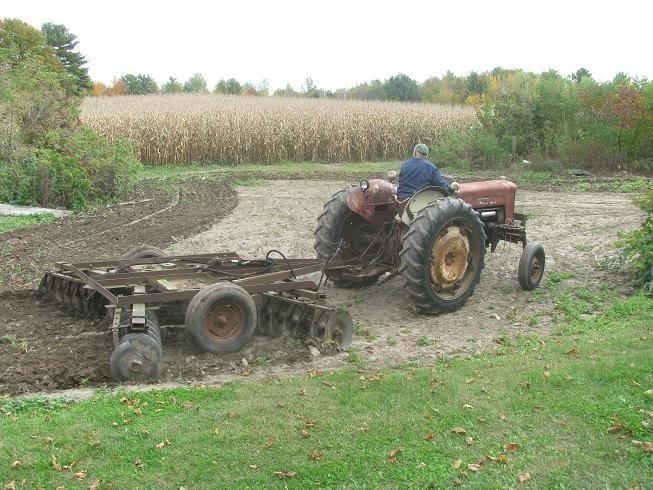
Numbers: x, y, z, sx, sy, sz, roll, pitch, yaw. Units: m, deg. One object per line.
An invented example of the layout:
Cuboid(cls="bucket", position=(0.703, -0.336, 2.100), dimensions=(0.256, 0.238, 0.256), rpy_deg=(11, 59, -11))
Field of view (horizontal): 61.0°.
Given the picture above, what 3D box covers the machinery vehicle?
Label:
Cuboid(cls="machinery vehicle", position=(1.756, -0.185, 8.521), dimensions=(3.293, 1.624, 1.965), rpy_deg=(-11, 15, -36))
